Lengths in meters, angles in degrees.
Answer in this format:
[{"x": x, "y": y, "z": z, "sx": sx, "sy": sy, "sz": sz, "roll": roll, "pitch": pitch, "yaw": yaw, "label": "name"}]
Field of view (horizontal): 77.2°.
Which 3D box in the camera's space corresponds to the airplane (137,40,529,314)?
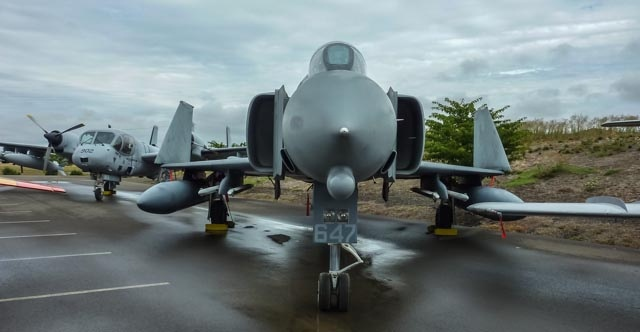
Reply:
[{"x": -0.161, "y": -0.684, "z": 16.990, "sx": 10.966, "sy": 4.855, "sz": 12.225, "roll": 1, "pitch": 1, "yaw": 0, "label": "airplane"}]
